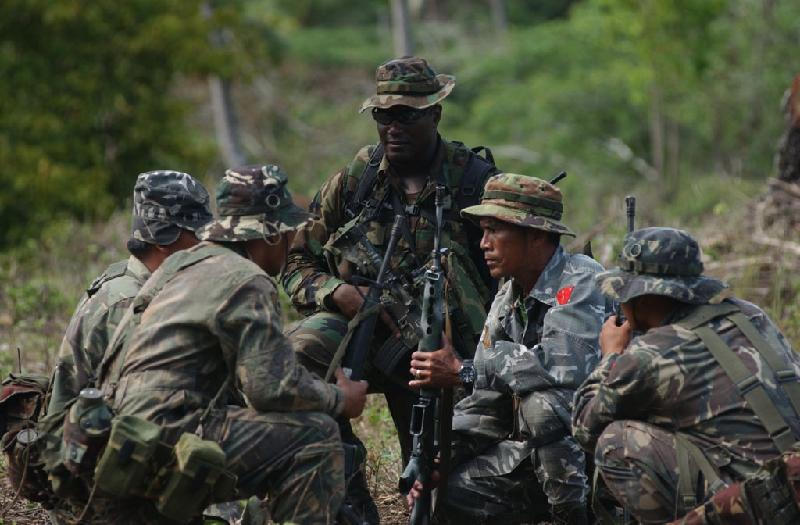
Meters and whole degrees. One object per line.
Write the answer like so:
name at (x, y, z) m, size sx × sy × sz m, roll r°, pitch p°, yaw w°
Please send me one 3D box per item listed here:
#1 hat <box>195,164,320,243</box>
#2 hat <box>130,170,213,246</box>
hat at (-1.480, -0.512, 12.604) m, size 0.812 × 0.493 × 0.821 m, roll -21°, pitch 3°, yaw 27°
hat at (-2.340, -0.548, 12.945) m, size 0.749 × 0.539 × 0.648 m, roll 1°, pitch 9°, yaw -5°
